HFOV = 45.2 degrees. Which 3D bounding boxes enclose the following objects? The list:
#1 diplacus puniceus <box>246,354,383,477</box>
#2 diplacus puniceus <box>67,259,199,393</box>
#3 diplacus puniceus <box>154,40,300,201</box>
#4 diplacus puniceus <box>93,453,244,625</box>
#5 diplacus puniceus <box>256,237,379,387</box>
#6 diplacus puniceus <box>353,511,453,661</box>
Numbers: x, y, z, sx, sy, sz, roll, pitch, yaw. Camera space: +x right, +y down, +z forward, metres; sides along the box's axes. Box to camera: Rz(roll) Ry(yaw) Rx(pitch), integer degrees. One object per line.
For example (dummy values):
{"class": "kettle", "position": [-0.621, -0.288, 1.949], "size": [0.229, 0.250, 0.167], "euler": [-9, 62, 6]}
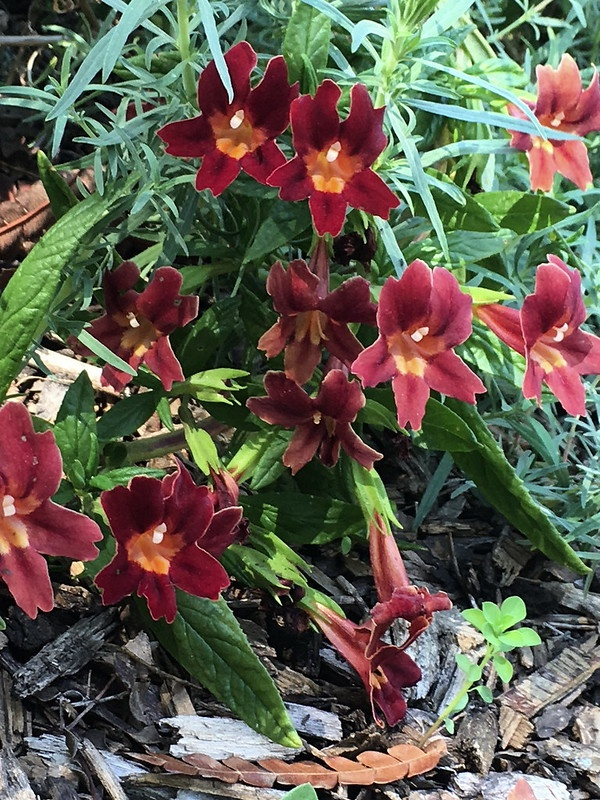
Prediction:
{"class": "diplacus puniceus", "position": [0.026, 0.014, 0.918], "size": [0.158, 0.132, 0.072], "euler": [12, 9, 10]}
{"class": "diplacus puniceus", "position": [-0.222, -0.104, 0.998], "size": [0.076, 0.194, 0.170], "euler": [-16, 80, -49]}
{"class": "diplacus puniceus", "position": [-0.068, -0.349, 0.927], "size": [0.196, 0.181, 0.090], "euler": [29, 26, -5]}
{"class": "diplacus puniceus", "position": [-0.158, 0.169, 0.834], "size": [0.146, 0.170, 0.109], "euler": [4, 39, -14]}
{"class": "diplacus puniceus", "position": [0.024, -0.115, 0.863], "size": [0.162, 0.151, 0.068], "euler": [5, 30, -1]}
{"class": "diplacus puniceus", "position": [0.130, 0.226, 0.919], "size": [0.115, 0.168, 0.078], "euler": [-13, 4, 7]}
